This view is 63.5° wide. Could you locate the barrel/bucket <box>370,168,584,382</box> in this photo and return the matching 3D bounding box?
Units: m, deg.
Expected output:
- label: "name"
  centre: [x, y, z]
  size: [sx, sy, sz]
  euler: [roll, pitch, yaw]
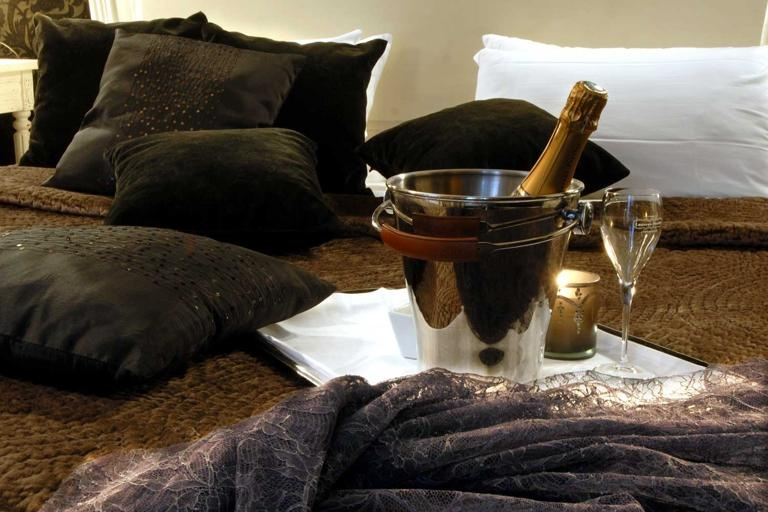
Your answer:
- label: "barrel/bucket"
  centre: [0.100, 0.010, 0.852]
  size: [0.286, 0.221, 0.289]
  euler: [-2, 11, 0]
